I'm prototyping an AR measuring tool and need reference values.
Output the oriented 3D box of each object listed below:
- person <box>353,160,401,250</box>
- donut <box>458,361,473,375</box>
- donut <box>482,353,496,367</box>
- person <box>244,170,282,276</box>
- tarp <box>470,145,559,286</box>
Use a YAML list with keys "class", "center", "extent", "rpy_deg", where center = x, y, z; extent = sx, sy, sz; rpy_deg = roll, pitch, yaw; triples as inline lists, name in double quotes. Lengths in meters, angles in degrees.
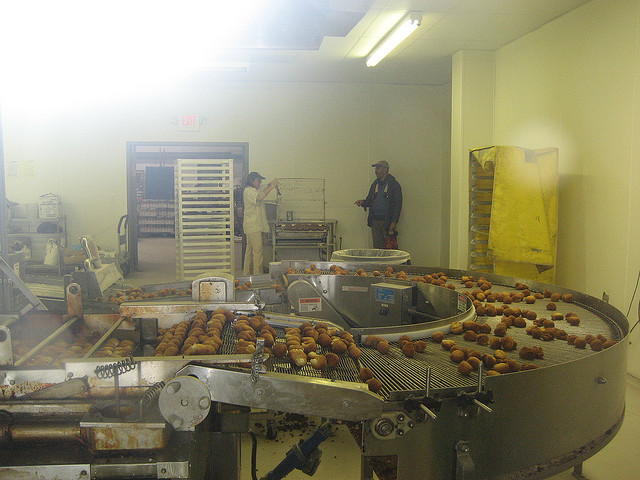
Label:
- class: "person"
  center: [0.868, -0.519, 7.565]
  extent: [0.305, 1.262, 0.735]
  rpy_deg: [-5, 7, -41]
- class: "donut"
  center: [0.619, 0.542, 2.229]
  extent: [0.060, 0.048, 0.046]
  rpy_deg: [-3, 6, -27]
- class: "donut"
  center: [0.732, 0.528, 2.279]
  extent: [0.054, 0.047, 0.032]
  rpy_deg: [4, 6, 33]
- class: "person"
  center: [-0.858, -0.223, 7.100]
  extent: [0.350, 1.383, 0.441]
  rpy_deg: [4, 6, 35]
- class: "tarp"
  center: [1.833, -0.127, 5.328]
  extent: [0.953, 1.480, 0.827]
  rpy_deg: [0, 2, -37]
